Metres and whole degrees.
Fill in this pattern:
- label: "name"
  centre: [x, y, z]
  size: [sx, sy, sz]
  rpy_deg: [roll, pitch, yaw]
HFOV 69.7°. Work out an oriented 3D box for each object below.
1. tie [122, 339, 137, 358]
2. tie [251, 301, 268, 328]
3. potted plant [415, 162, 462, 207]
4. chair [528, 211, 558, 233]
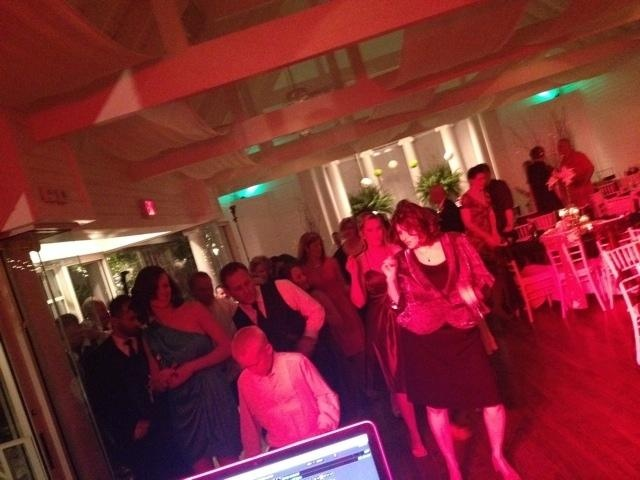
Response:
- label: "tie"
  centre: [-1.142, 0.635, 2.761]
  size: [0.081, 0.110, 0.044]
  rpy_deg: [-5, 10, 0]
- label: "tie"
  centre: [-0.361, 0.435, 2.763]
  size: [0.055, 0.204, 0.010]
  rpy_deg: [-24, -3, 4]
- label: "potted plant"
  centre: [0.689, -0.328, 2.697]
  size: [0.225, 0.234, 0.125]
  rpy_deg: [-35, 6, 9]
- label: "chair"
  centre: [1.300, -0.104, 2.667]
  size: [0.128, 0.162, 0.119]
  rpy_deg: [-5, 22, 16]
